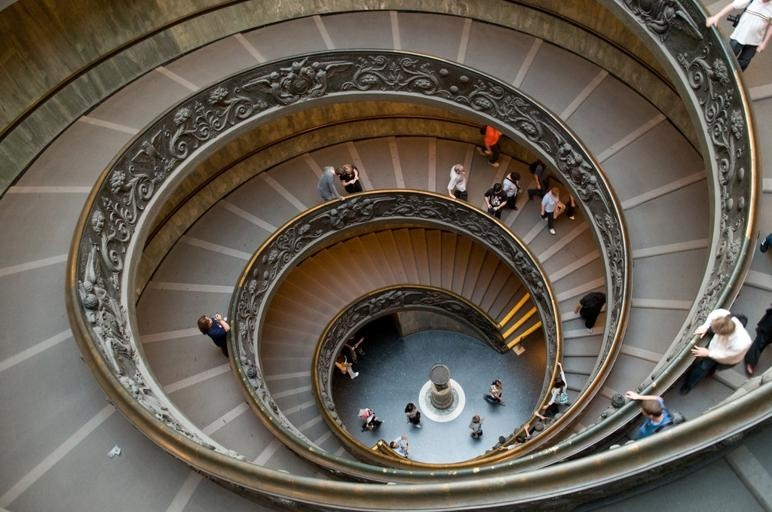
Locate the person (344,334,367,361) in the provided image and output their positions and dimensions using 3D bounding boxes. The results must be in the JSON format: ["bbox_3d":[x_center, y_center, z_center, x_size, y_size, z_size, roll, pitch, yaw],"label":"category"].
[{"bbox_3d":[-1.258,3.690,21.688,0.306,0.717,1.316,25,-9,7],"label":"person"}]

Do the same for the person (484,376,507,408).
[{"bbox_3d":[4.045,5.071,20.113,0.363,0.787,0.824,26,0,6],"label":"person"}]

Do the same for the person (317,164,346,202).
[{"bbox_3d":[-1.746,-2.274,17.441,0.686,0.712,1.055,-30,-17,-11],"label":"person"}]

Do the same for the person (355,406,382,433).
[{"bbox_3d":[-0.657,6.084,20.129,0.567,0.660,0.953,24,-4,10],"label":"person"}]

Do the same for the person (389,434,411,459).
[{"bbox_3d":[0.486,6.520,18.595,0.534,0.564,1.391,7,6,19],"label":"person"}]

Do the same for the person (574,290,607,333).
[{"bbox_3d":[5.437,1.553,14.758,0.506,1.260,0.577,-23,20,-22],"label":"person"}]

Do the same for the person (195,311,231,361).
[{"bbox_3d":[-4.487,2.131,14.815,0.723,0.584,1.900,15,-27,21],"label":"person"}]
